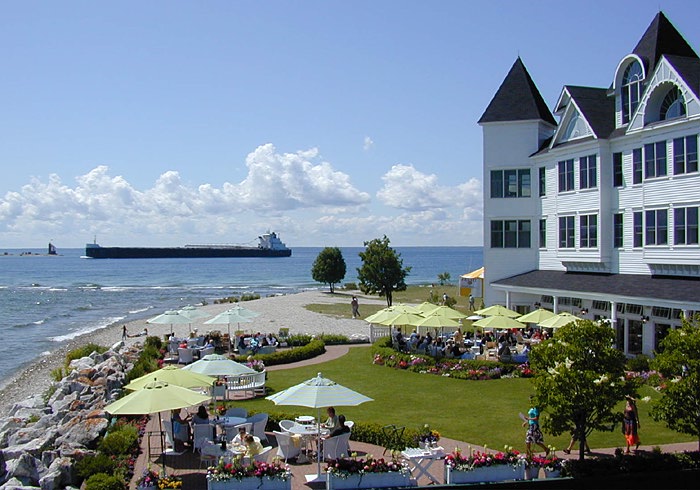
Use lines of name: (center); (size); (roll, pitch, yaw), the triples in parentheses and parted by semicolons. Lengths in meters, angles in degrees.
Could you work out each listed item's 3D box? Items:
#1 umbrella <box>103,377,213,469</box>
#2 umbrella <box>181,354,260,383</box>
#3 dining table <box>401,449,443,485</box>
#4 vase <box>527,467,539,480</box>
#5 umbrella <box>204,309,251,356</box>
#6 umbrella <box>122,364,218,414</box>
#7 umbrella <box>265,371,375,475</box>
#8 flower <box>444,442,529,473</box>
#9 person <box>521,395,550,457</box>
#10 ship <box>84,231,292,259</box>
umbrella: (-7.031, 5.581, 23.170); (3.226, 0.980, 1.495); (1, -3, -16)
umbrella: (-5.701, 5.823, 28.476); (2.265, 1.485, 3.885); (5, -1, 20)
dining table: (2.505, 7.861, 22.663); (1.217, 1.086, 1.128); (1, -8, -3)
vase: (6.377, 8.004, 22.287); (0.438, 0.418, 0.397); (1, 4, 12)
umbrella: (-7.342, 5.053, 40.785); (3.564, 3.825, 3.399); (3, 3, -20)
umbrella: (-6.793, 5.190, 24.986); (2.557, 1.040, 2.490); (2, 6, 1)
umbrella: (-1.011, 6.836, 23.953); (3.784, 3.237, 3.681); (0, -5, -5)
flower: (4.634, 7.494, 22.537); (3.217, 0.806, 1.039); (-3, 9, -3)
person: (7.124, 7.027, 24.378); (1.080, 2.112, 0.705); (1, -11, 11)
ship: (-59.150, 2.386, 245.142); (74.853, 10.750, 10.810); (1, 1, -11)
